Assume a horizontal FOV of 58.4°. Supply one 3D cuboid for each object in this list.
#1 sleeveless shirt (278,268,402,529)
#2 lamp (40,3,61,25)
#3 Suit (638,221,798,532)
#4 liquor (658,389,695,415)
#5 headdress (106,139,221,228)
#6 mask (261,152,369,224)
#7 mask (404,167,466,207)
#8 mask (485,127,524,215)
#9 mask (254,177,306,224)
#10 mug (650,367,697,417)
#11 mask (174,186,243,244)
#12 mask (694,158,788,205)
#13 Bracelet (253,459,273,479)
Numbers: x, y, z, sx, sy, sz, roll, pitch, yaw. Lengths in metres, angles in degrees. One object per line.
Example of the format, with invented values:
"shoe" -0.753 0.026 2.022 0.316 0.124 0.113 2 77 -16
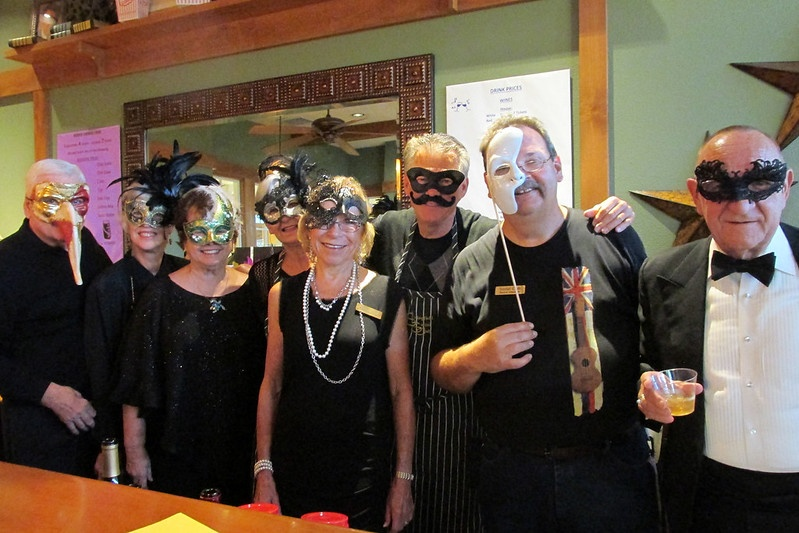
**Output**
"sleeveless shirt" -0.270 0.597 3.175 0.601 1.115 0.361 -3 7 2
"lamp" -2.361 -1.721 4.865 0.151 0.158 0.051 0 8 28
"Suit" 1.349 0.467 2.988 0.698 1.159 0.310 -8 -12 43
"liquor" 1.055 0.511 2.701 0.104 0.076 0.109 -8 -10 13
"headdress" -1.197 -0.418 3.761 0.552 0.248 0.394 -12 -19 -3
"mask" -0.537 -0.475 4.002 0.622 0.392 0.774 9 4 0
"mask" 0.176 -0.396 3.498 0.312 0.174 0.134 3 6 12
"mask" 0.430 -0.388 2.890 0.157 0.350 0.118 -3 7 6
"mask" -0.615 -0.333 3.651 0.209 0.231 0.119 1 4 8
"mug" 1.053 0.485 2.754 0.217 0.144 0.208 13 0 7
"mask" -0.927 -0.246 3.470 0.247 0.246 0.316 2 -14 -20
"mask" 1.321 -0.330 2.802 0.348 0.154 0.138 3 12 15
"Bracelet" -0.610 0.906 3.185 0.079 0.058 0.082 2 -21 -9
